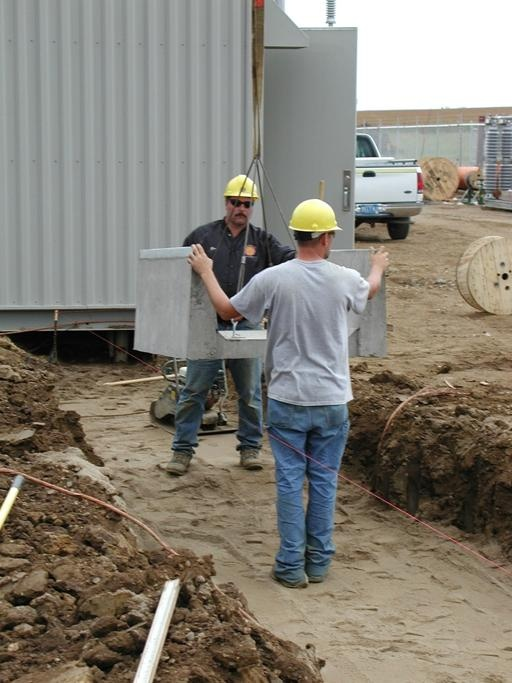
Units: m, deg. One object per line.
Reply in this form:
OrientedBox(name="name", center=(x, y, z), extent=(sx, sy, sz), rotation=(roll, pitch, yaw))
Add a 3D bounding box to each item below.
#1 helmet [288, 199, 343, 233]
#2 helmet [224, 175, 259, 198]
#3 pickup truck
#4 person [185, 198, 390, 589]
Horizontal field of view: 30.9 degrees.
OrientedBox(name="helmet", center=(0.271, -0.599, 4.397), extent=(0.214, 0.111, 0.171), rotation=(0, 11, 13))
OrientedBox(name="helmet", center=(-0.088, -0.944, 5.727), extent=(0.224, 0.151, 0.281), rotation=(2, 6, -13))
OrientedBox(name="pickup truck", center=(2.463, -2.743, 16.966), extent=(1.532, 1.341, 2.901), rotation=(-1, 13, -1))
OrientedBox(name="person", center=(0.195, 0.248, 4.471), extent=(0.824, 1.830, 0.545), rotation=(0, 13, -1))
